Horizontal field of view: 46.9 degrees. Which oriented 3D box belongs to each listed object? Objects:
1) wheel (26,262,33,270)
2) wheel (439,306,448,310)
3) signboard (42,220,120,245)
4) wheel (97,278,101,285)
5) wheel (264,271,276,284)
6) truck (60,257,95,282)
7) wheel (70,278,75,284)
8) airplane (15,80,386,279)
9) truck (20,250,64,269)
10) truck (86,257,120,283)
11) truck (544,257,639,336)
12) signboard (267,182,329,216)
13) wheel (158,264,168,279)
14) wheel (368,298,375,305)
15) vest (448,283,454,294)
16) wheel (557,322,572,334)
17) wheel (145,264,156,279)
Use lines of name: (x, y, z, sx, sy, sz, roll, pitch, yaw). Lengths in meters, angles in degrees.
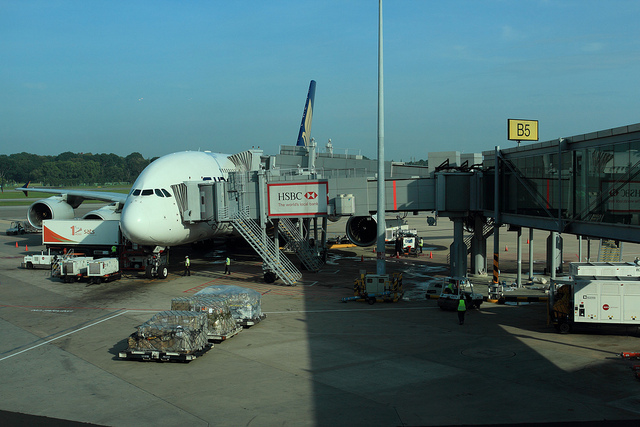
wheel: (-23.913, 4.208, 60.538, 0.812, 0.604, 0.230, 1, 7, 2)
wheel: (7.898, 5.980, 47.048, 0.473, 0.230, 0.257, -1, 2, 7)
signboard: (-18.948, 0.526, 59.861, 7.617, 2.032, 2.154, 1, 4, 18)
wheel: (-16.496, 4.966, 54.875, 0.232, 0.414, 0.393, -2, 2, -16)
wheel: (-3.787, 4.675, 54.499, 0.941, 0.767, 0.866, -2, 4, 0)
truck: (-18.512, 4.062, 55.652, 1.599, 1.374, 2.541, 2, 7, 13)
wheel: (-18.579, 4.970, 55.133, 0.260, 0.395, 0.826, -1, 2, -9)
airplane: (-8.735, -2.983, 66.744, 41.091, 10.905, 33.144, 2, 4, 16)
truck: (-22.716, 3.912, 60.028, 4.495, 1.508, 1.358, 0, 4, -2)
truck: (-16.422, 4.263, 55.682, 1.891, 1.311, 2.391, -2, 3, 10)
truck: (15.905, 4.830, 42.716, 5.779, 2.251, 3.963, 0, 1, 15)
signboard: (-1.640, -1.072, 54.510, 4.379, 2.414, 0.759, -1, 2, 2)
wheel: (-11.968, 4.369, 56.096, 0.358, 1.065, 1.035, -1, 2, 14)
wheel: (3.359, 5.760, 48.664, 0.533, 0.396, 0.163, -2, -5, 0)
vest: (8.377, 4.749, 47.107, 0.264, 0.642, 0.441, -2, 2, -27)
wheel: (14.081, 6.555, 42.385, 0.794, 0.613, 0.295, 0, 2, 13)
wheel: (-12.799, 4.322, 55.560, 0.640, 1.166, 1.354, -1, -2, 4)
